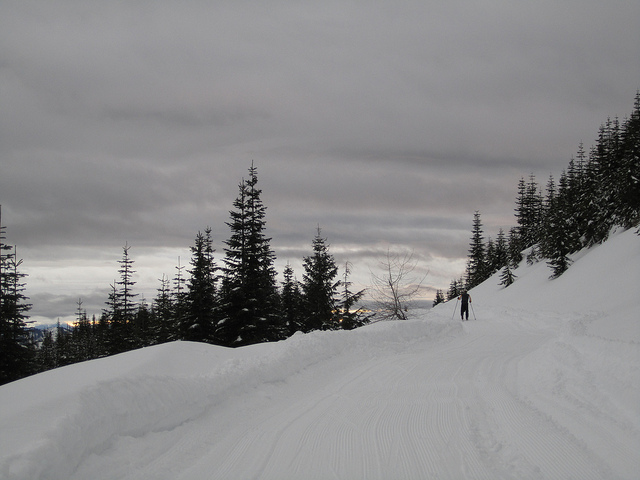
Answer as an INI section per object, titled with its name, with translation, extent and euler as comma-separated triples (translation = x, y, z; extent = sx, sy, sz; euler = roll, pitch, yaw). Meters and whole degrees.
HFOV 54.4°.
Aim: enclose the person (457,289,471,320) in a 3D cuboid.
[person]
translation = 8.052, 3.632, 34.650
extent = 0.555, 1.473, 3.323
euler = 2, 9, 13
